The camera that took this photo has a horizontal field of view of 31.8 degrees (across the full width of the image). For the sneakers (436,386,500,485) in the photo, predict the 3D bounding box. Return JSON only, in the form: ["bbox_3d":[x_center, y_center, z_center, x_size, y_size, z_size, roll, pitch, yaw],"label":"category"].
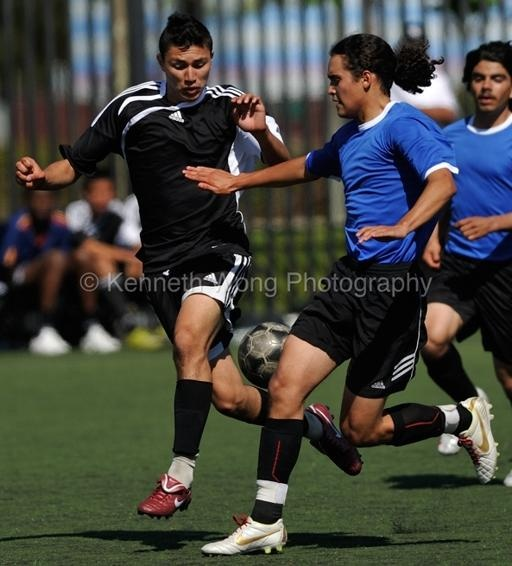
[{"bbox_3d":[1.016,0.706,4.223,0.269,0.445,0.183,-5,-7,-41],"label":"sneakers"}]

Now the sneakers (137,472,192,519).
[{"bbox_3d":[-0.333,0.769,3.244,0.084,0.128,0.203,1,1,31],"label":"sneakers"}]

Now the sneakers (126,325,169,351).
[{"bbox_3d":[-1.183,0.626,9.838,0.291,0.159,0.326,-2,-4,20],"label":"sneakers"}]

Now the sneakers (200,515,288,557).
[{"bbox_3d":[-0.079,0.870,3.075,0.363,0.128,0.107,1,-9,-9],"label":"sneakers"}]

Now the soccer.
[{"bbox_3d":[-0.038,0.317,4.157,0.326,0.293,0.278,1,-6,-4],"label":"soccer"}]
